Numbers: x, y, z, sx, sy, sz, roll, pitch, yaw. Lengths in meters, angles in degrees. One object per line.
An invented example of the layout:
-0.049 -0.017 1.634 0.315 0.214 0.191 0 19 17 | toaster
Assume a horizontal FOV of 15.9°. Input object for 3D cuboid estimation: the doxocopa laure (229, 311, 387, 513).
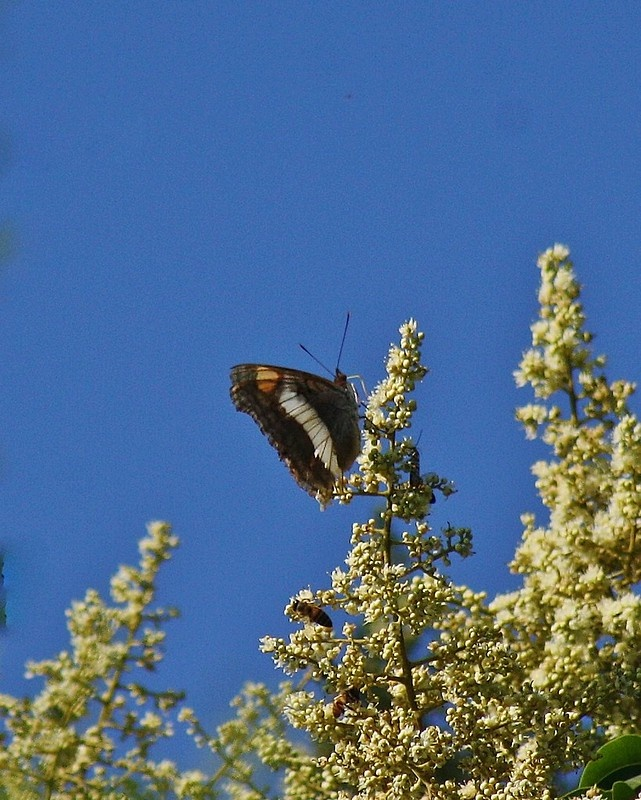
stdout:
-0.082 0.084 8.979 0.443 0.728 0.594 12 -1 31 | doxocopa laure
